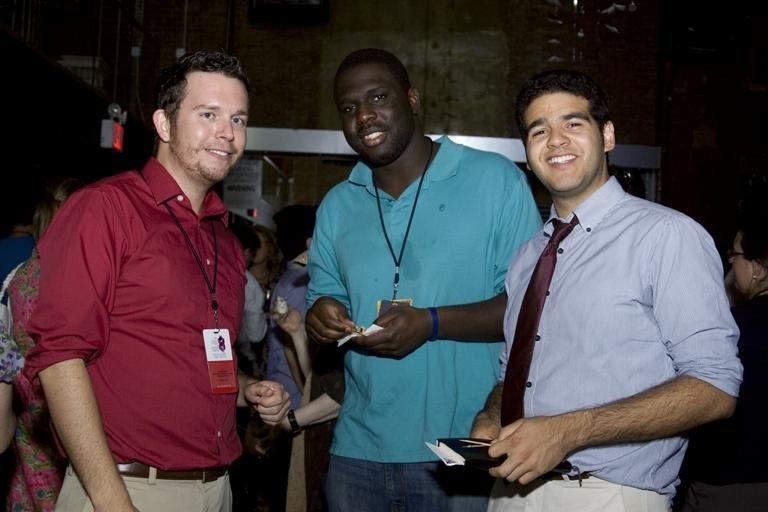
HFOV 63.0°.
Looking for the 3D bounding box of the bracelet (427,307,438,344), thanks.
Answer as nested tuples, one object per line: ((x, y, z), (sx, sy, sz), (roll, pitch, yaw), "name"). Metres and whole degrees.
((0.235, 0.316, 2.901), (0.026, 0.115, 0.082), (2, 7, -12), "bracelet")
